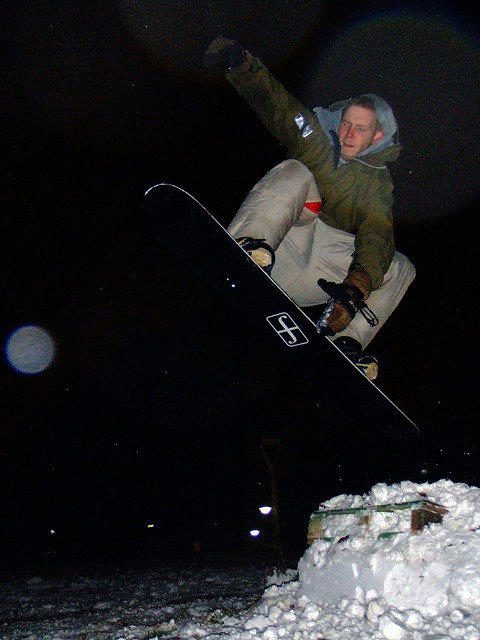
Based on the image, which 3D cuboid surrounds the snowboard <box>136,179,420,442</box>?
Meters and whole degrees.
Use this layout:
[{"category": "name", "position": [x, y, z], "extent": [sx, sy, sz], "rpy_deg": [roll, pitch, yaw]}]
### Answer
[{"category": "snowboard", "position": [0.376, 0.028, 5.191], "extent": [0.479, 3.053, 0.136], "rpy_deg": [-48, 8, -15]}]

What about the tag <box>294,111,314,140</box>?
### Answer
[{"category": "tag", "position": [0.640, -1.974, 6.129], "extent": [0.180, 0.241, 0.107], "rpy_deg": [9, -18, -40]}]
